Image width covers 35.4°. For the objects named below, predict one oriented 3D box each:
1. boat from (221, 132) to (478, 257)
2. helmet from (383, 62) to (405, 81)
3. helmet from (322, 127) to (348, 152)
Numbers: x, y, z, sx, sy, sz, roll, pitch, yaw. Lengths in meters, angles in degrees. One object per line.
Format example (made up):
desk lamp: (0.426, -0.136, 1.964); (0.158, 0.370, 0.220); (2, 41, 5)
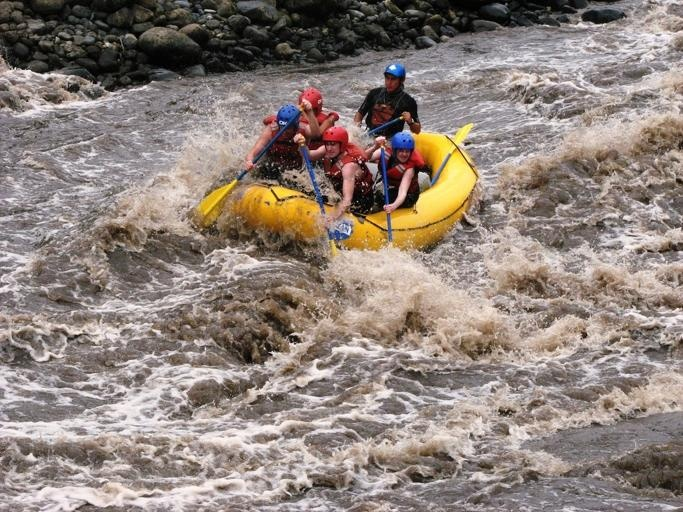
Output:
boat: (0.692, -0.764, 15.494); (1.994, 0.660, 2.858); (17, 30, 39)
helmet: (0.858, -2.901, 16.766); (0.369, 0.211, 0.471); (10, 8, 32)
helmet: (-0.063, -1.663, 15.074); (0.380, 0.314, 0.274); (-4, 19, -7)
